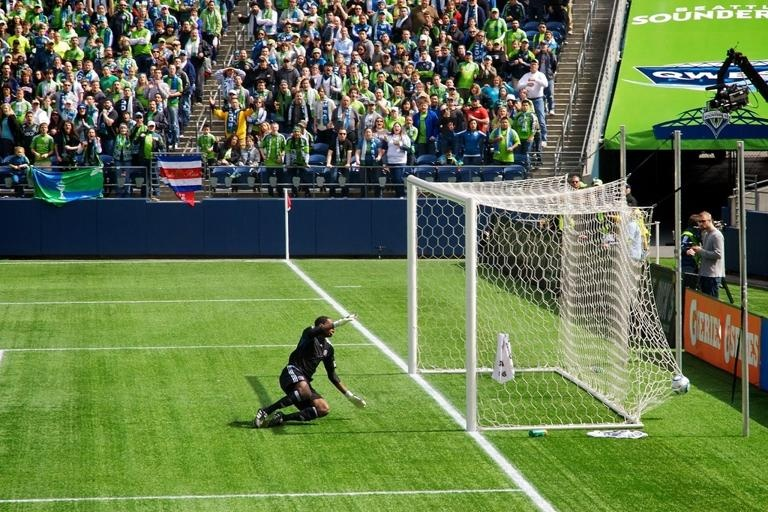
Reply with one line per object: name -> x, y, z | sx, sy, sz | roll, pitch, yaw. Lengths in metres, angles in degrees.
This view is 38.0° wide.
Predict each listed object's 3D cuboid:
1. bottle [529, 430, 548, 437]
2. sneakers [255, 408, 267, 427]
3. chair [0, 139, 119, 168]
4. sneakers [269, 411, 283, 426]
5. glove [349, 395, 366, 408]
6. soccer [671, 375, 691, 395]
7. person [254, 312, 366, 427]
bottle -> 2.330, 2.706, 16.859 | 0.188, 0.098, 0.116 | 0, 0, -9
sneakers -> -1.892, 2.503, 16.991 | 0.152, 0.354, 0.117 | 0, -7, 7
chair -> -8.457, -2.760, 30.591 | 2.324, 0.781, 0.946 | -1, 12, -8
sneakers -> -1.665, 2.492, 17.059 | 0.158, 0.357, 0.120 | -1, 51, -22
glove -> -0.409, 2.249, 17.085 | 0.227, 0.101, 0.165 | 27, 0, -2
soccer -> 4.494, 1.967, 16.883 | 0.278, 0.316, 0.211 | 2, 13, 5
person -> -1.067, 1.833, 17.127 | 1.355, 1.943, 1.064 | 1, -28, 28
